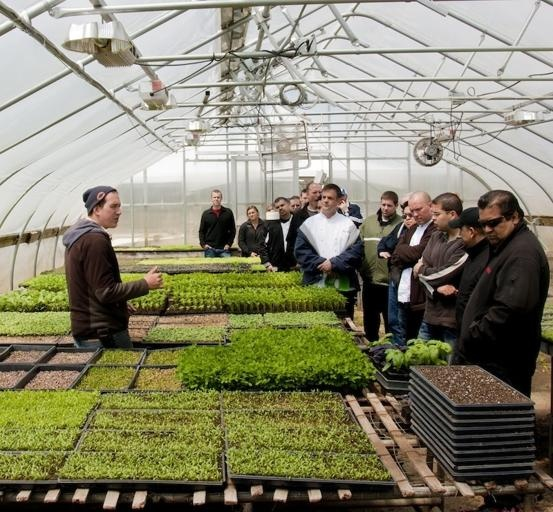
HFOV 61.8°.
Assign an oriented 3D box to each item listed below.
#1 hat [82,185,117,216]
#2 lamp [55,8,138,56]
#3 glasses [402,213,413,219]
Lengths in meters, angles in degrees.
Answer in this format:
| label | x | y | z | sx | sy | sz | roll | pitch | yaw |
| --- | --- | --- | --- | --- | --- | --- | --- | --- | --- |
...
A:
| label | x | y | z | sx | sy | sz | roll | pitch | yaw |
| --- | --- | --- | --- | --- | --- | --- | --- | --- | --- |
| hat | -1.677 | -0.530 | 4.350 | 0.348 | 0.255 | 0.176 | 0 | 10 | 24 |
| lamp | -1.838 | -2.262 | 4.888 | 0.660 | 0.208 | 0.680 | -3 | 5 | -1 |
| glasses | 1.950 | -0.581 | 6.678 | 0.217 | 0.054 | 0.181 | 4 | 5 | -4 |
